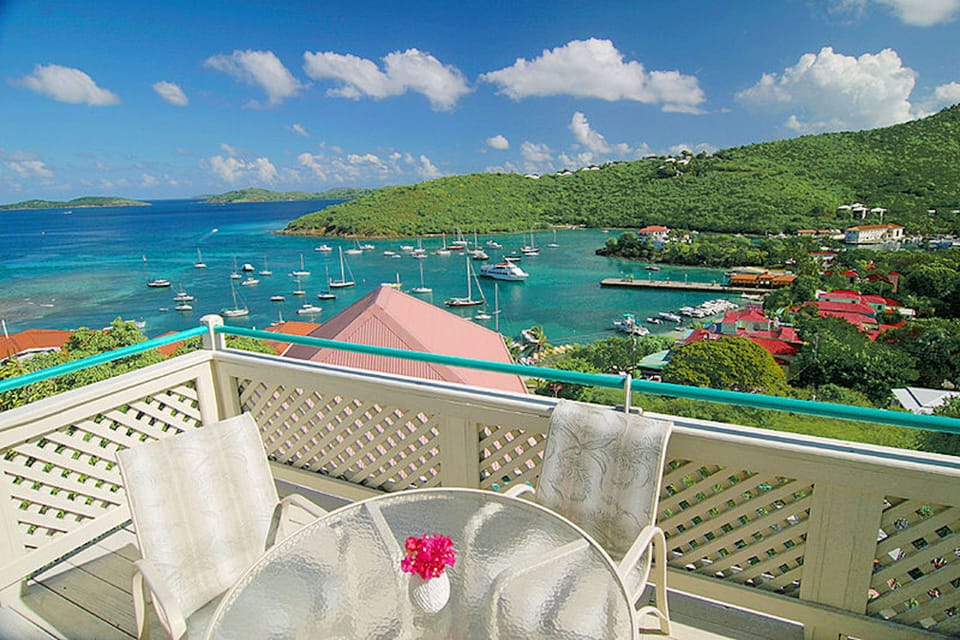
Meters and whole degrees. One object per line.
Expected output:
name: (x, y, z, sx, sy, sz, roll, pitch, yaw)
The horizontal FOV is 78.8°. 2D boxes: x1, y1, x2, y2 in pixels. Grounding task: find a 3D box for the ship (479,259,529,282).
ship: (2.208, -4.624, 55.940, 6.120, 1.879, 1.860, 7, 25, 28)
